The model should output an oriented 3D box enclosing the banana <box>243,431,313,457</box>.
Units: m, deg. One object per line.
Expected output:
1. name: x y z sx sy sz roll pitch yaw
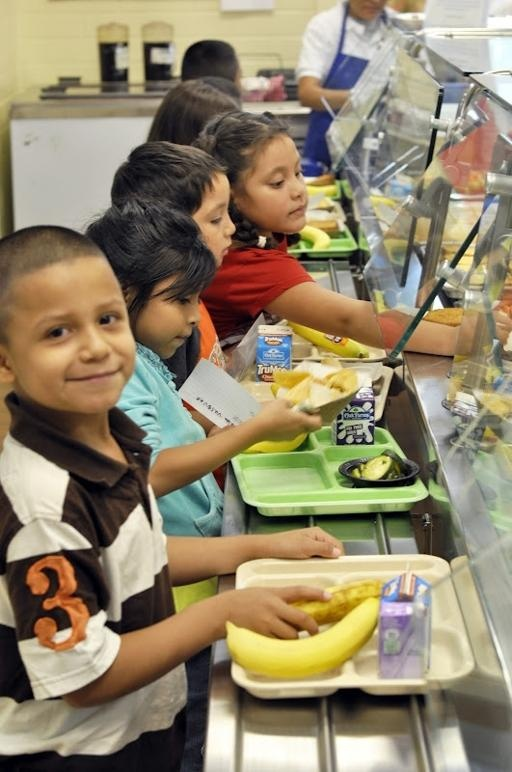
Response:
1. banana: 0.044 0.138 1.356 0.127 0.034 0.049 -13 -16 11
